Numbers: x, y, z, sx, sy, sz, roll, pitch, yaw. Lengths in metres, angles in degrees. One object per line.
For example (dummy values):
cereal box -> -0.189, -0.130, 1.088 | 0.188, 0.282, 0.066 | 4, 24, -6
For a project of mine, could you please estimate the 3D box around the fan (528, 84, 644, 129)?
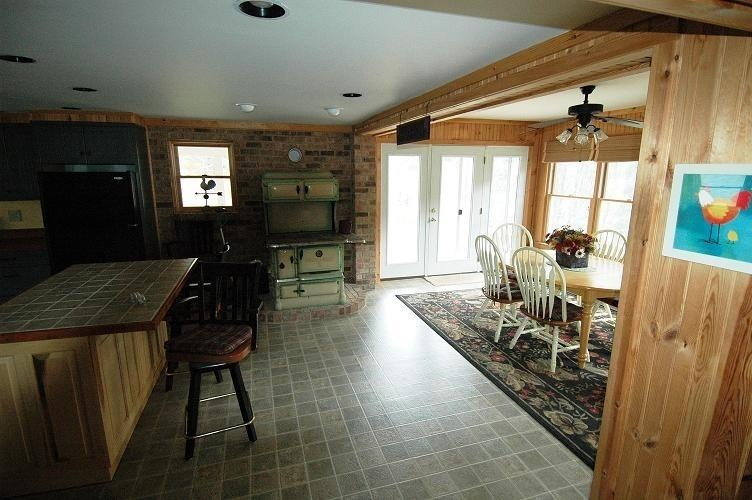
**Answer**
fan -> 2.101, -1.423, 4.715 | 0.944, 0.323, 0.824 | -15, 35, -16

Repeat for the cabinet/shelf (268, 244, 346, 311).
cabinet/shelf -> -0.872, 0.324, 5.905 | 1.011, 0.729, 0.493 | -3, 7, -20

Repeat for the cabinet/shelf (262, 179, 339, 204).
cabinet/shelf -> -0.979, -0.791, 6.148 | 0.932, 0.272, 0.162 | -4, 12, -23

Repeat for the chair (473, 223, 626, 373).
chair -> 1.900, 0.559, 5.136 | 0.943, 0.558, 1.720 | -5, 12, -15
